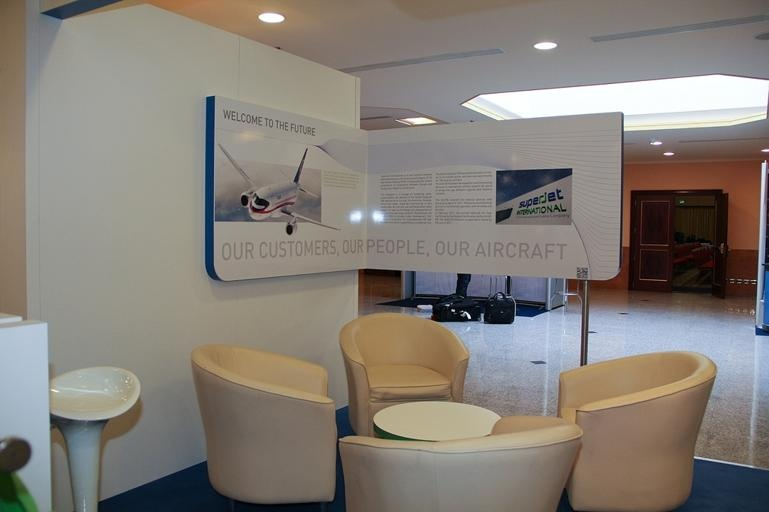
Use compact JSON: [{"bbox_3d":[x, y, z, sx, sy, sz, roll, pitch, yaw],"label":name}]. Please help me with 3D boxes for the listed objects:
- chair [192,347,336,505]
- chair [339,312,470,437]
[{"bbox_3d":[-0.742,1.055,3.783,1.010,1.122,1.135,0,3,-9],"label":"chair"},{"bbox_3d":[0.141,1.133,4.810,1.071,1.032,0.985,1,1,-6],"label":"chair"}]
